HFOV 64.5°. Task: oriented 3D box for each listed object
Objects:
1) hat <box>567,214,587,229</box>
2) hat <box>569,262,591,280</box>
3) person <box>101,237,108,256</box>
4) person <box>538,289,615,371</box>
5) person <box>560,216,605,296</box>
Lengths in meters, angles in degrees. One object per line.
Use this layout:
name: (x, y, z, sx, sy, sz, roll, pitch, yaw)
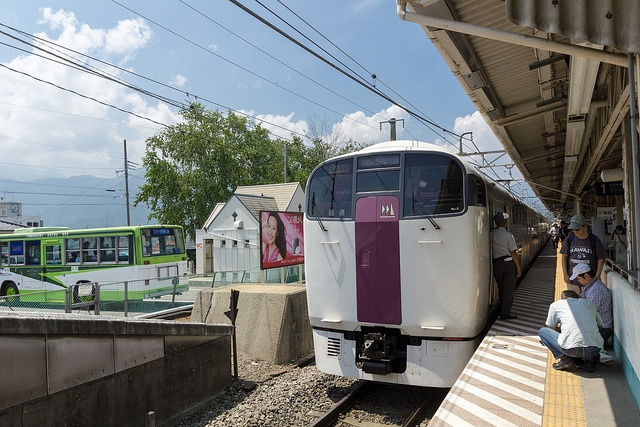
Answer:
hat: (5.339, 0.194, 10.473, 0.279, 0.312, 0.363, 3, 7, 28)
hat: (4.869, 1.084, 9.424, 0.364, 0.153, 0.237, -35, 7, -9)
person: (-8.349, 1.258, 19.795, 0.194, 0.760, 0.282, 1, -2, 11)
person: (4.445, 1.982, 8.787, 0.930, 1.399, 0.845, 5, -16, -4)
person: (5.486, 1.309, 10.576, 0.849, 2.504, 0.786, 2, 3, 35)
